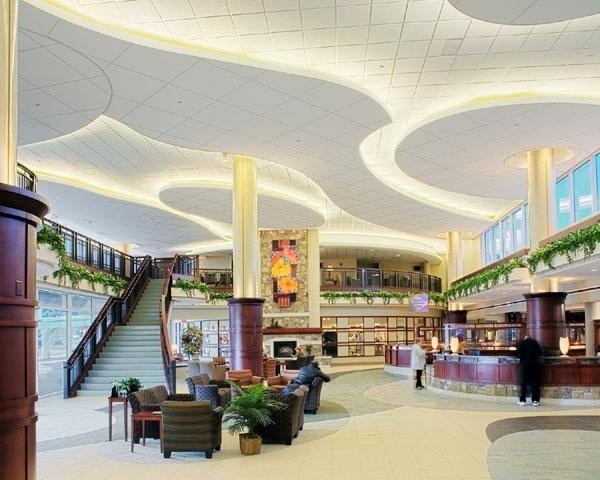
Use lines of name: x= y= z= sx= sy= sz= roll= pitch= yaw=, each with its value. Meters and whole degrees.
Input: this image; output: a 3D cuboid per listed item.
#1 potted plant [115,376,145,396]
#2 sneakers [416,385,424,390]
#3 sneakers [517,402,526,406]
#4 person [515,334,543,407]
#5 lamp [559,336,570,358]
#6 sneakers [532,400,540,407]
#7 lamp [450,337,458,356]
potted plant: x=-3.231 y=2.820 z=8.590 sx=0.579 sy=0.294 sz=0.492 roll=0 pitch=-1 yaw=-3
sneakers: x=4.034 y=4.943 z=15.278 sx=0.253 sy=0.076 sz=0.079 roll=6 pitch=-3 yaw=-34
sneakers: x=5.642 y=4.143 z=11.577 sx=0.176 sy=0.084 sz=0.233 roll=-4 pitch=-10 yaw=18
person: x=5.981 y=3.388 z=11.900 sx=0.557 sy=1.659 sz=0.781 roll=-11 pitch=-16 yaw=39
lamp: x=7.316 y=2.954 z=12.624 sx=0.237 sy=0.516 sz=0.561 roll=-7 pitch=-12 yaw=26
sneakers: x=5.956 y=4.121 z=11.499 sx=0.125 sy=0.052 sz=0.170 roll=-4 pitch=-4 yaw=11
lamp: x=6.096 y=4.158 z=18.002 sx=0.254 sy=0.577 sz=0.422 roll=-6 pitch=-12 yaw=21
